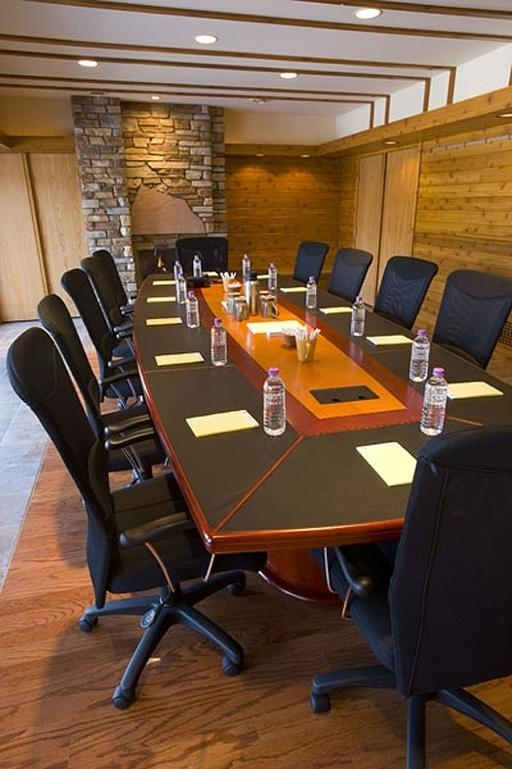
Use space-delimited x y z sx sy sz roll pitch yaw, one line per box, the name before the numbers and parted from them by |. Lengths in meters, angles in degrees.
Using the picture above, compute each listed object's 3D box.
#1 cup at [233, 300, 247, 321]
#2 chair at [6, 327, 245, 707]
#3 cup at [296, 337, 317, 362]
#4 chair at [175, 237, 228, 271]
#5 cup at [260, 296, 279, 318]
cup | -0.086 -0.420 3.026 0.066 0.096 0.071 -2 31 1
chair | -0.332 0.374 1.549 0.545 1.140 0.519 -3 25 -1
cup | 0.205 -0.143 2.186 0.064 0.070 0.097 0 27 2
chair | -0.545 -1.347 5.491 0.381 0.500 0.425 -6 13 -13
cup | 0.070 -0.453 3.067 0.084 0.138 0.140 -6 29 -10
